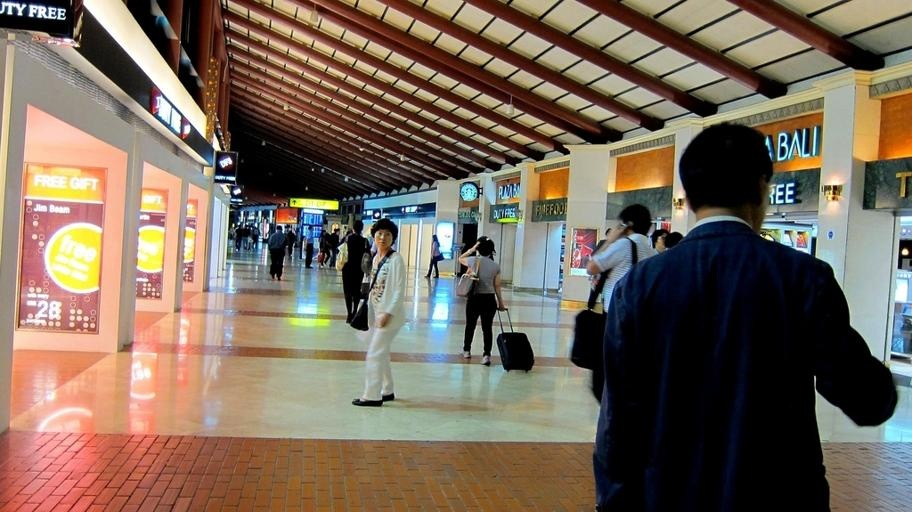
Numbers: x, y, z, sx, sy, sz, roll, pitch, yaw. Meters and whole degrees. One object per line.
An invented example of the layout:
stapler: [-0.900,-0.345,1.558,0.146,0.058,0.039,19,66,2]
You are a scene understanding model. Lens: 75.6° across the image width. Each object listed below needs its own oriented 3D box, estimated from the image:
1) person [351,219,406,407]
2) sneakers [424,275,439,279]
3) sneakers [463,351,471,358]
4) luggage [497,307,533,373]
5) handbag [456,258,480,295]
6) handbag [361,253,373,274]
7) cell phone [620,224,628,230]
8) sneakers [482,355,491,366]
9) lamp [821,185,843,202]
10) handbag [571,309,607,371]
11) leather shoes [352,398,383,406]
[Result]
person: [-0.961,0.712,7.706,0.571,2.377,0.719,4,5,-6]
sneakers: [-1.133,1.048,27.837,0.654,0.199,0.272,9,-7,-42]
sneakers: [0.187,1.731,10.247,0.112,0.091,0.215,1,-7,-3]
luggage: [1.014,1.427,10.038,0.631,0.817,1.346,4,6,4]
handbag: [0.197,0.359,9.863,0.355,0.662,0.272,3,5,-10]
handbag: [-1.545,0.123,10.022,0.097,0.335,0.211,-1,-20,17]
cell phone: [1.887,-0.316,6.591,0.073,0.049,0.071,-2,13,-32]
sneakers: [0.518,1.756,9.947,0.154,0.149,0.281,4,6,4]
lamp: [7.964,-1.329,12.556,0.328,0.309,0.387,5,-3,-38]
handbag: [1.199,0.713,5.001,0.390,0.505,0.387,4,-15,-2]
leather shoes: [-1.119,1.885,7.504,0.270,0.084,0.141,7,-3,-8]
